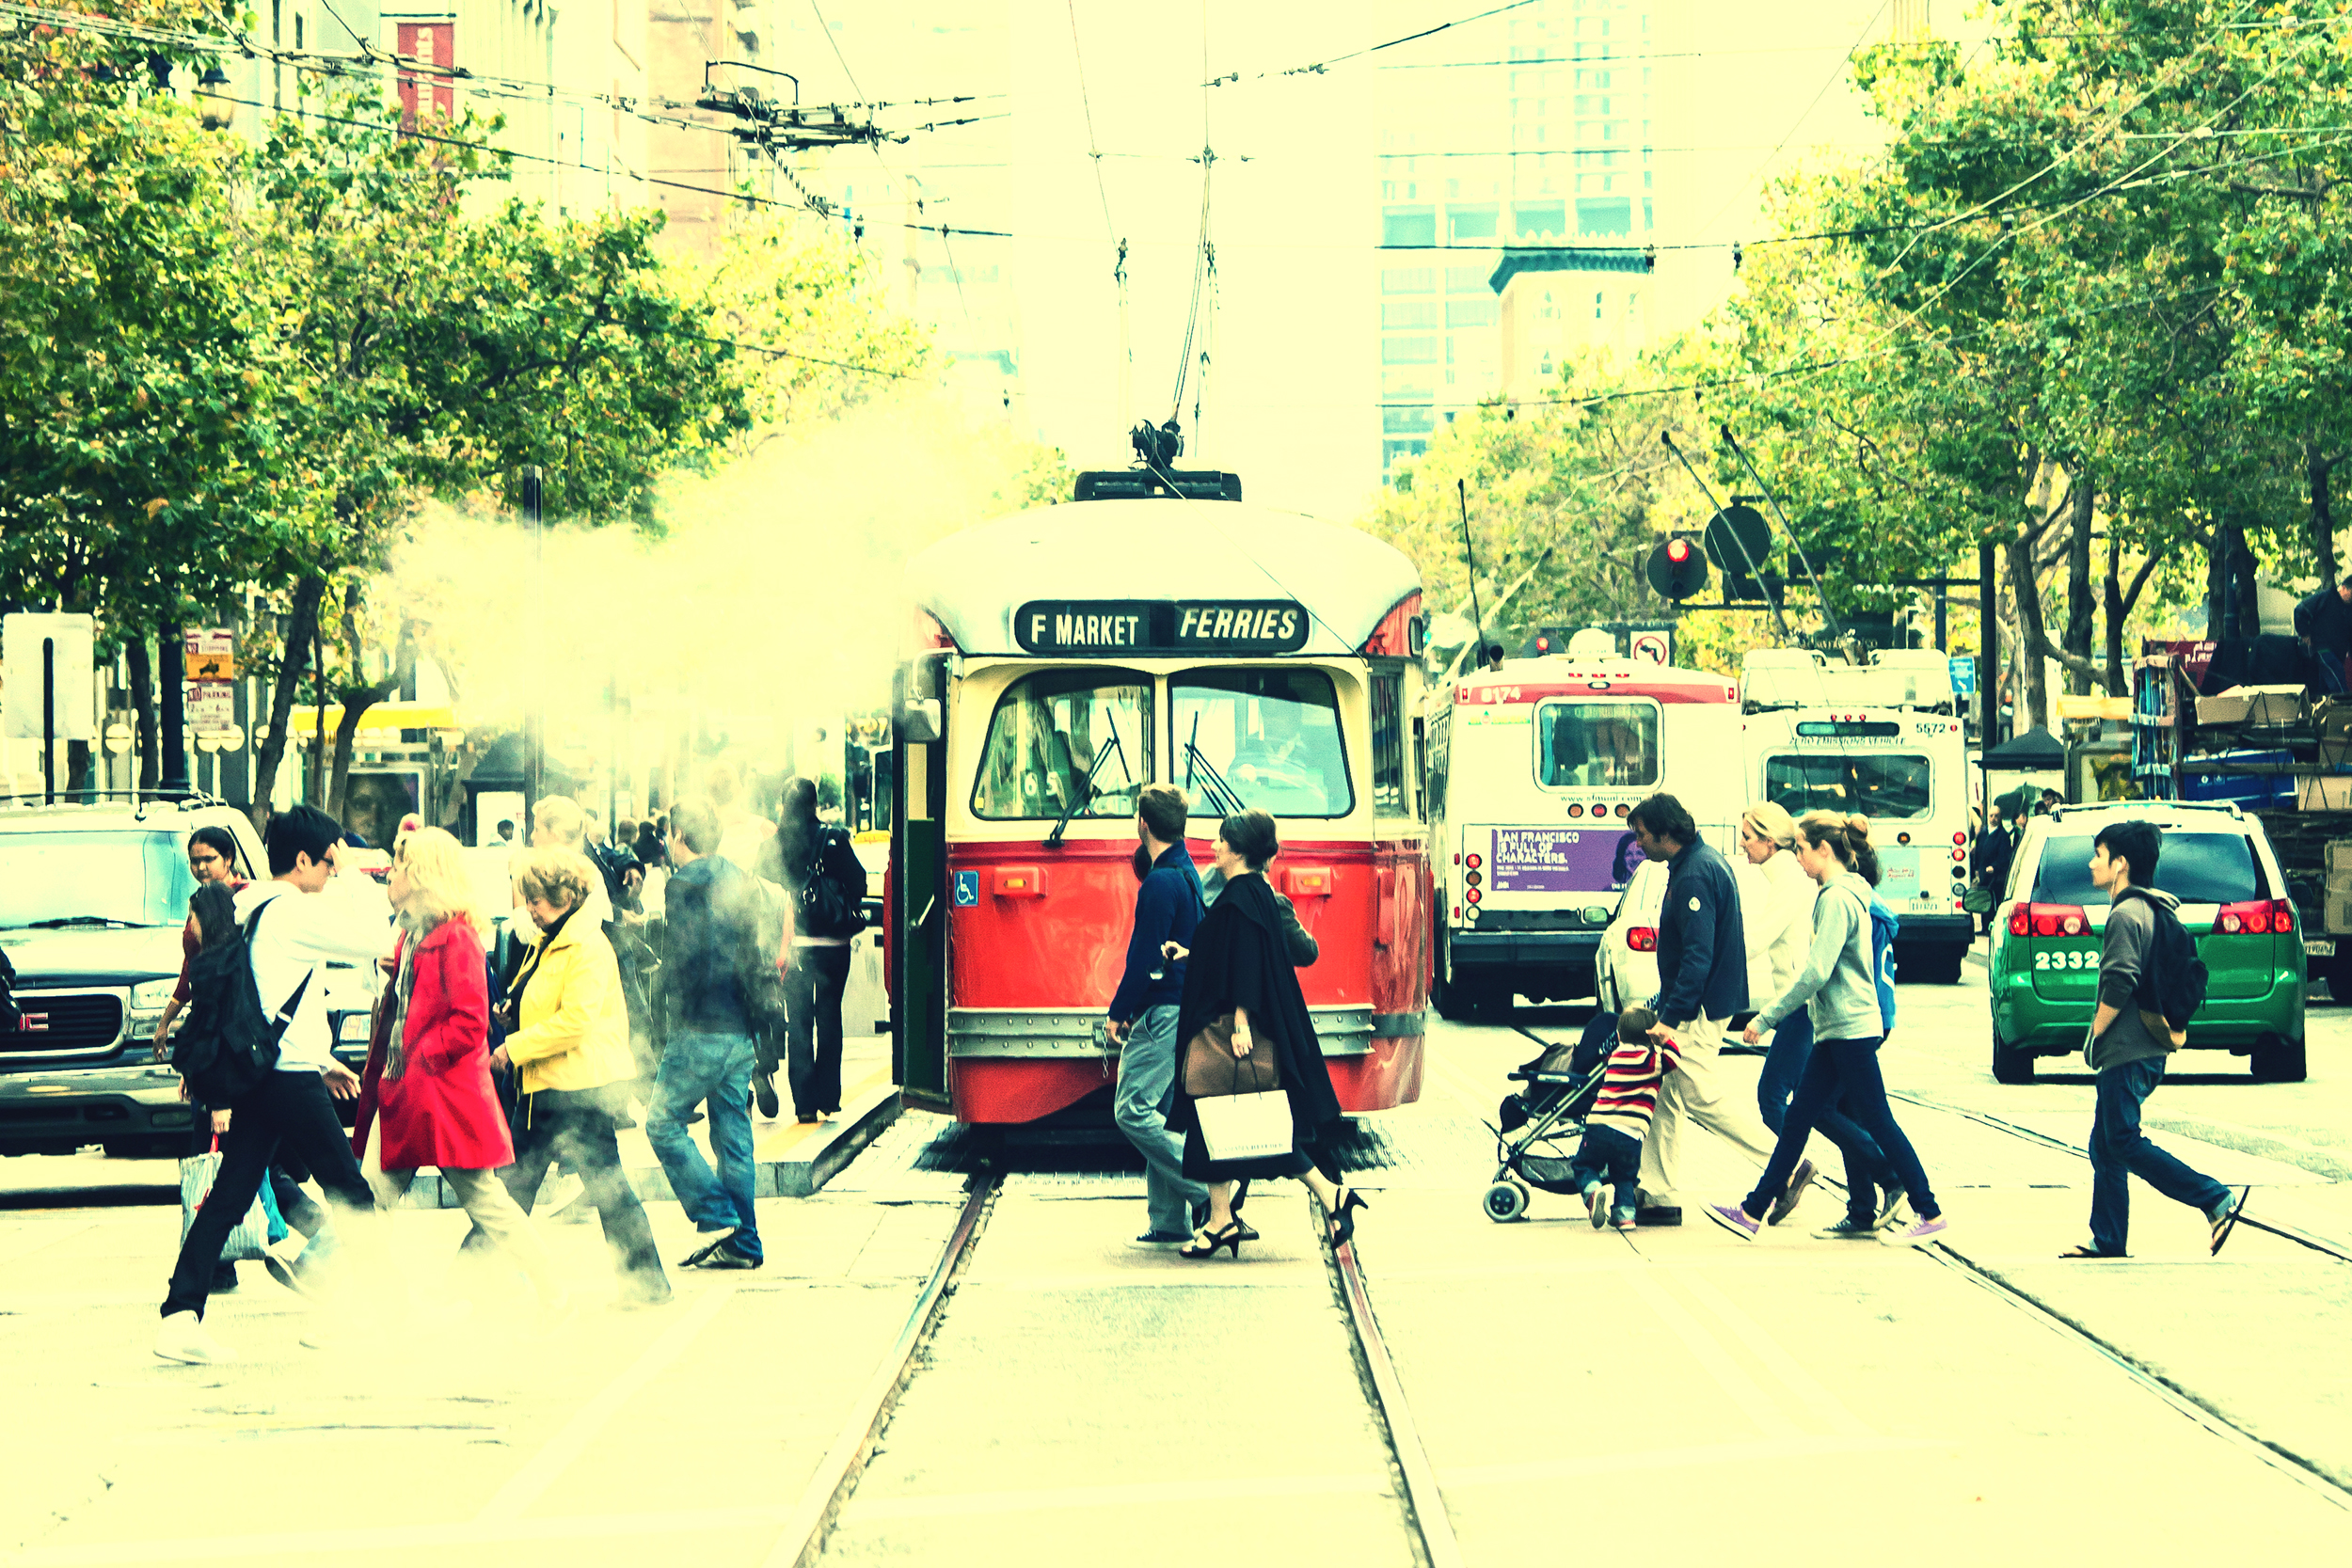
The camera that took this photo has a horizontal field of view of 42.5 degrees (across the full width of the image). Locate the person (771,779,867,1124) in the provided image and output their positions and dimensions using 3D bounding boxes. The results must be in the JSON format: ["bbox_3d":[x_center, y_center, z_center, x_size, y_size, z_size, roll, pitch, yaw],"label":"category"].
[{"bbox_3d":[-2.488,1.280,20.920,0.560,1.950,1.035,0,6,0],"label":"person"}]

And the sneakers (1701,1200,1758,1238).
[{"bbox_3d":[3.105,2.423,16.958,0.325,0.144,0.123,40,7,25],"label":"sneakers"}]

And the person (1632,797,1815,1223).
[{"bbox_3d":[2.978,1.232,17.137,0.894,2.369,0.847,-4,6,-41],"label":"person"}]

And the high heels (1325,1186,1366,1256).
[{"bbox_3d":[0.907,2.340,16.354,0.145,0.407,0.139,7,-1,-1],"label":"high heels"}]

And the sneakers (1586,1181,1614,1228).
[{"bbox_3d":[2.409,2.360,17.113,0.093,0.278,0.113,-2,23,-1],"label":"sneakers"}]

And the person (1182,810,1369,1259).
[{"bbox_3d":[0.460,1.309,16.286,0.925,2.278,0.375,-1,7,-2],"label":"person"}]

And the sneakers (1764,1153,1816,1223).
[{"bbox_3d":[3.499,2.303,17.087,0.189,0.459,0.151,30,2,-10],"label":"sneakers"}]

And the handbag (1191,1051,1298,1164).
[{"bbox_3d":[0.335,1.728,16.198,0.497,0.537,0.186,-3,7,4],"label":"handbag"}]

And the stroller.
[{"bbox_3d":[2.375,1.908,17.620,1.193,1.586,0.927,2,-6,14],"label":"stroller"}]

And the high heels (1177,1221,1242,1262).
[{"bbox_3d":[0.202,2.526,16.626,0.395,0.249,0.138,1,-1,-17],"label":"high heels"}]

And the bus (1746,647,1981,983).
[{"bbox_3d":[7.551,-0.093,34.505,1.735,2.474,4.967,-1,0,4],"label":"bus"}]

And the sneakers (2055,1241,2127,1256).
[{"bbox_3d":[4.918,2.494,16.155,0.315,0.087,0.127,3,-6,-5],"label":"sneakers"}]

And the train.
[{"bbox_3d":[0.001,-0.024,21.039,2.502,3.728,4.645,0,0,2],"label":"train"}]

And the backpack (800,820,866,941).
[{"bbox_3d":[-2.399,0.739,21.164,0.475,0.721,0.700,1,-10,-4],"label":"backpack"}]

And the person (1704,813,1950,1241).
[{"bbox_3d":[3.693,1.364,16.862,1.163,2.341,0.590,1,7,14],"label":"person"}]

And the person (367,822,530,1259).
[{"bbox_3d":[-3.606,1.260,14.794,0.654,2.045,0.910,-3,7,-23],"label":"person"}]

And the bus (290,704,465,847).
[{"bbox_3d":[-14.638,-0.257,55.246,3.777,2.927,3.804,0,-3,5],"label":"bus"}]

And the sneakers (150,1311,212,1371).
[{"bbox_3d":[-4.728,2.636,14.396,0.240,0.246,0.234,-2,3,-42],"label":"sneakers"}]

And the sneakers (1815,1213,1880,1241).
[{"bbox_3d":[3.786,2.490,17.024,0.311,0.234,0.117,3,-9,19],"label":"sneakers"}]

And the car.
[{"bbox_3d":[7.615,1.057,24.231,1.522,1.339,2.661,-1,3,6],"label":"car"}]

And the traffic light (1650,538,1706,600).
[{"bbox_3d":[7.296,-3.052,43.778,0.795,0.933,1.222,1,6,8],"label":"traffic light"}]
